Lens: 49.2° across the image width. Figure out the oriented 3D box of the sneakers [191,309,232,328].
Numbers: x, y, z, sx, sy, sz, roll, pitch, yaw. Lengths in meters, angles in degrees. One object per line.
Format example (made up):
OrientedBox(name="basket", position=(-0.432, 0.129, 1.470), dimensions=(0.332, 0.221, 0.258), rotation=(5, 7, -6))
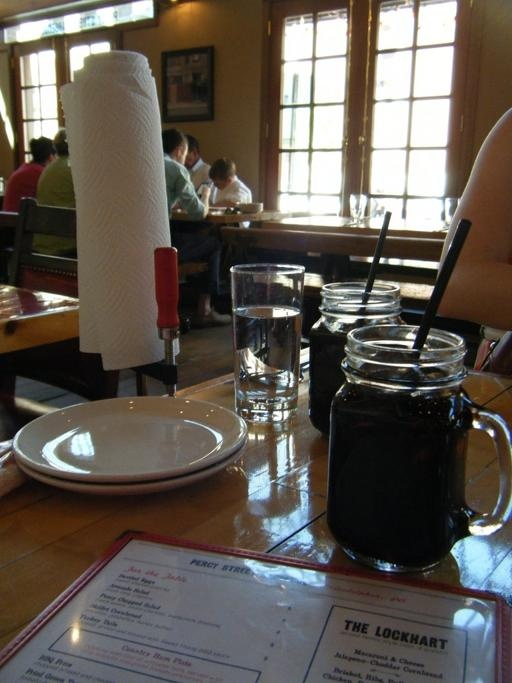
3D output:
OrientedBox(name="sneakers", position=(-0.325, -0.176, 4.112), dimensions=(0.249, 0.105, 0.136), rotation=(-4, 11, -14))
